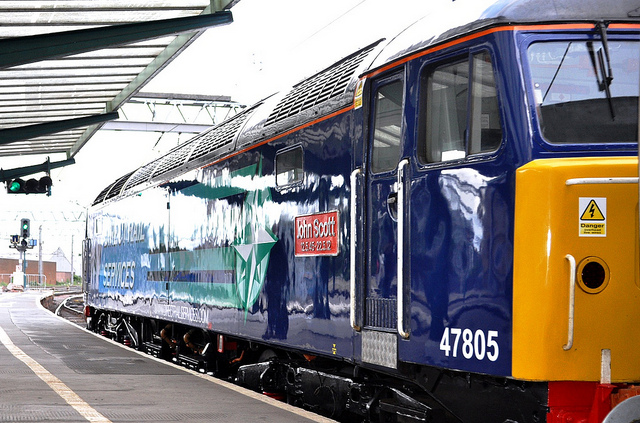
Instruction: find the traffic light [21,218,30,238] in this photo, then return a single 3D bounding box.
[{"bbox_3d":[-17.099,0.906,35.195,0.461,1.149,0.700,4,-7,-27],"label":"traffic light"}]
